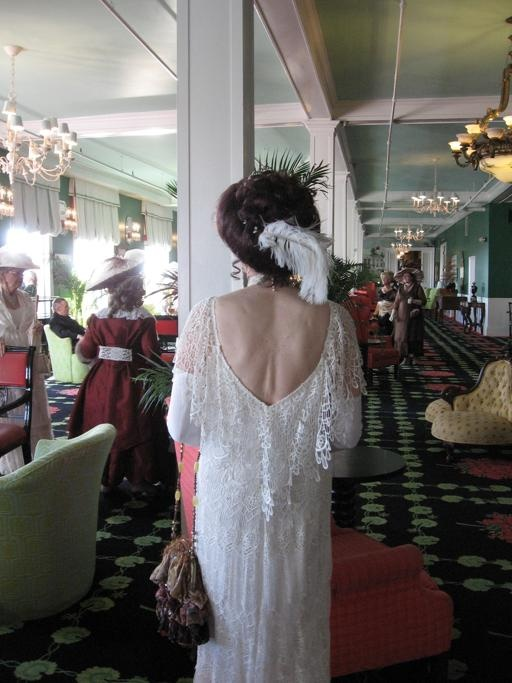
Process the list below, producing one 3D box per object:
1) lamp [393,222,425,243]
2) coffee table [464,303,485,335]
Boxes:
[{"bbox_3d":[6.176,-4.499,21.431,1.353,0.801,1.325,-1,15,-2],"label":"lamp"},{"bbox_3d":[6.065,-0.634,14.668,0.387,0.658,0.932,2,2,11],"label":"coffee table"}]
